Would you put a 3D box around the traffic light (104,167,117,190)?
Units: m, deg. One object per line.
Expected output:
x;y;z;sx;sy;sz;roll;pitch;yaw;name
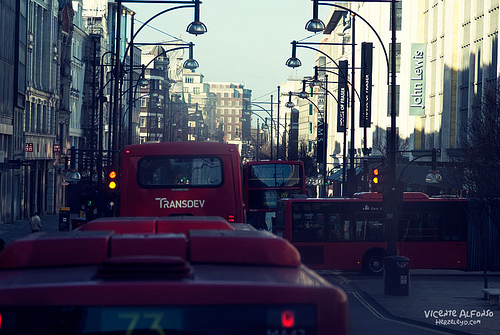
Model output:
-5.144;0.422;27.976;0.522;0.817;0.330;0;0;29;traffic light

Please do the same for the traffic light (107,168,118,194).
-5.029;0.520;27.924;0.380;0.903;0.322;1;0;-14;traffic light

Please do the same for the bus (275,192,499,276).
5.673;2.988;30.640;11.046;3.724;3.537;-1;0;-4;bus

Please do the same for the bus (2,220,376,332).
-0.889;1.199;7.987;3.440;1.021;1.269;1;0;8;bus

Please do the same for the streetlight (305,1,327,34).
2.465;-5.646;28.607;0.559;1.067;0.766;0;0;26;streetlight

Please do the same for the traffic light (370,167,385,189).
5.481;0.420;33.230;0.408;0.736;1.651;-1;2;-4;traffic light

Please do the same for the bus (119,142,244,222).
-1.713;0.375;19.450;2.589;2.082;1.978;0;-8;0;bus

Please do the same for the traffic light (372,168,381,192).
5.414;0.568;32.893;0.374;0.839;1.290;0;0;10;traffic light
